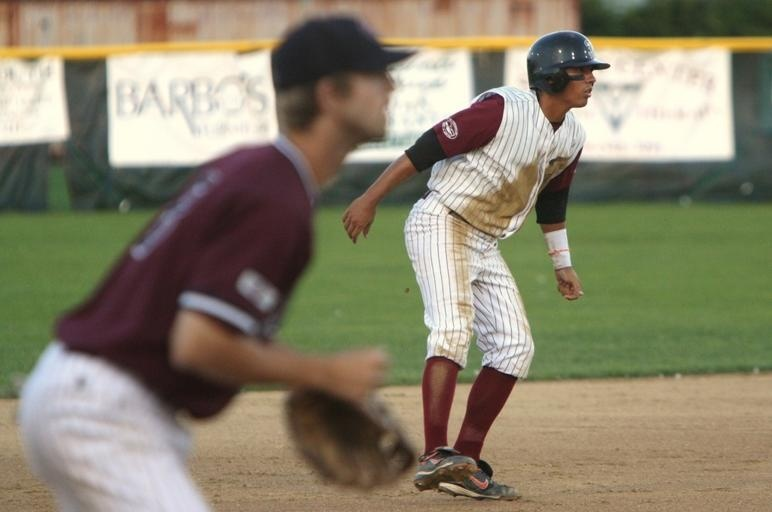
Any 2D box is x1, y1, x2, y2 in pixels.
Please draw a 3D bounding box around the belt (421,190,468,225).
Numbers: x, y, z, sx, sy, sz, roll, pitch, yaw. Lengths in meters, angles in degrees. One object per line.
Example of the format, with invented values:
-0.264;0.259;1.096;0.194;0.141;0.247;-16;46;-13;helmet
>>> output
0.598;-0.474;15.185;0.421;0.110;0.310;36;-13;5;belt
